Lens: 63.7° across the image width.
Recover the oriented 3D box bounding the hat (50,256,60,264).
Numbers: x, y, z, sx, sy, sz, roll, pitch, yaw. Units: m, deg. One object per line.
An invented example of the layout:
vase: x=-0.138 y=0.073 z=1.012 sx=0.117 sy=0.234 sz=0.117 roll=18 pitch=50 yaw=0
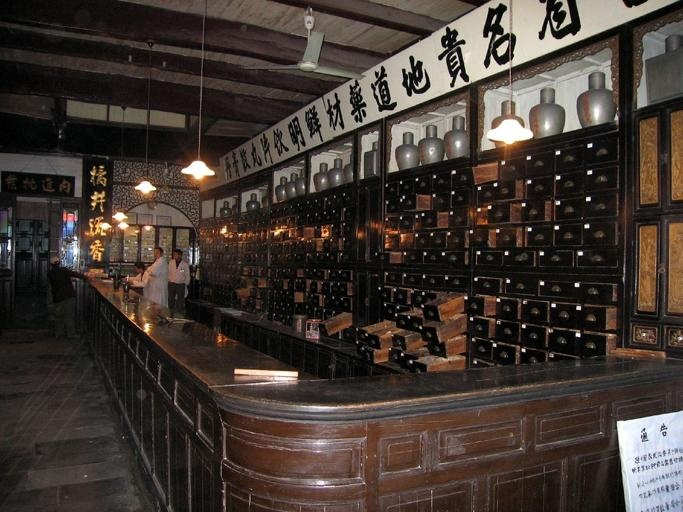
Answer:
hat: x=-5.036 y=0.094 z=9.611 sx=0.185 sy=0.148 sz=0.184 roll=0 pitch=-2 yaw=-12

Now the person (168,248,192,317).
person: x=-3.001 y=0.508 z=10.039 sx=0.446 sy=1.136 sz=0.765 roll=-10 pitch=4 yaw=-14

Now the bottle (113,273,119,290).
bottle: x=-3.405 y=0.385 z=8.281 sx=0.097 sy=0.245 sz=0.379 roll=-10 pitch=4 yaw=-23

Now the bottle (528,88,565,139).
bottle: x=1.719 y=-1.190 z=4.607 sx=0.276 sy=0.420 sz=0.262 roll=-9 pitch=4 yaw=1

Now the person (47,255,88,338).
person: x=-4.895 y=0.708 z=9.743 sx=0.591 sy=1.460 sz=0.696 roll=-11 pitch=5 yaw=-29
